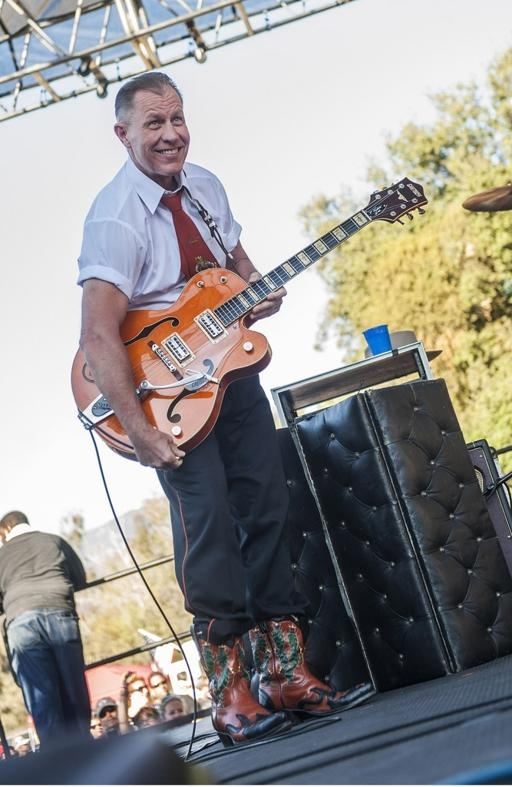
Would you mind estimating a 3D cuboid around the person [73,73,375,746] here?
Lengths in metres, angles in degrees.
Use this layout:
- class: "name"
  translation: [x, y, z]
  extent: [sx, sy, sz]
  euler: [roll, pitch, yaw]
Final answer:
- class: "person"
  translation: [-0.114, -0.026, 1.692]
  extent: [0.555, 1.160, 0.384]
  euler: [-23, -10, -14]

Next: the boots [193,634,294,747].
- class: "boots"
  translation: [-0.045, 0.527, 1.442]
  extent: [0.121, 0.164, 0.178]
  euler: [-22, -9, -13]

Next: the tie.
- class: "tie"
  translation: [-0.151, -0.343, 1.758]
  extent: [0.093, 0.219, 0.032]
  euler: [-20, -1, -15]

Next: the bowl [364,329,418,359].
- class: "bowl"
  translation: [0.480, -0.179, 2.811]
  extent: [0.160, 0.103, 0.140]
  euler: [0, -5, -7]

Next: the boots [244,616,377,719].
- class: "boots"
  translation: [0.090, 0.550, 1.590]
  extent: [0.269, 0.173, 0.098]
  euler: [2, -23, -14]
